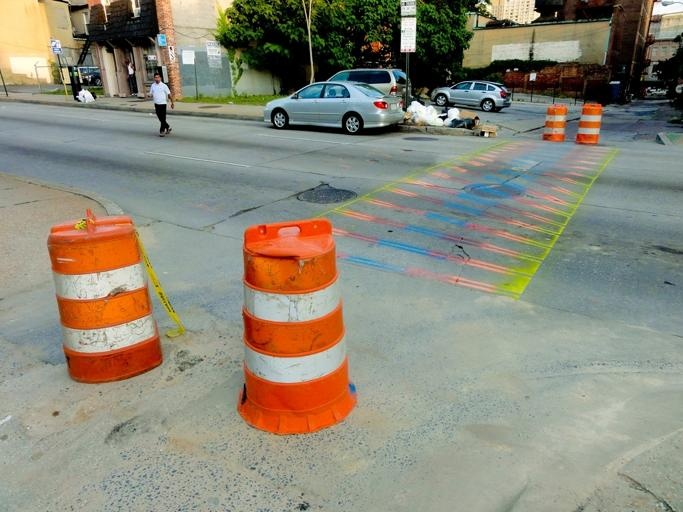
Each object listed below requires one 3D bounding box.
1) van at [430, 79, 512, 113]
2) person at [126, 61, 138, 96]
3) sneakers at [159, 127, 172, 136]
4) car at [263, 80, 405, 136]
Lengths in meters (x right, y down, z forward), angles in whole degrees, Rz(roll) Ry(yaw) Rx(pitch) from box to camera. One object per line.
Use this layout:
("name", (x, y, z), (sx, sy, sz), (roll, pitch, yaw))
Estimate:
("van", (7.629, -9.410, 27.700), (4.955, 1.280, 1.924), (11, 27, 21))
("person", (-13.485, -11.588, 30.800), (0.427, 2.089, 1.151), (-11, 29, -24))
("sneakers", (-5.968, -4.293, 16.285), (0.291, 0.205, 0.638), (-9, 24, -7))
("car", (-0.052, -5.478, 17.390), (5.360, 1.314, 2.072), (9, 24, 19))
